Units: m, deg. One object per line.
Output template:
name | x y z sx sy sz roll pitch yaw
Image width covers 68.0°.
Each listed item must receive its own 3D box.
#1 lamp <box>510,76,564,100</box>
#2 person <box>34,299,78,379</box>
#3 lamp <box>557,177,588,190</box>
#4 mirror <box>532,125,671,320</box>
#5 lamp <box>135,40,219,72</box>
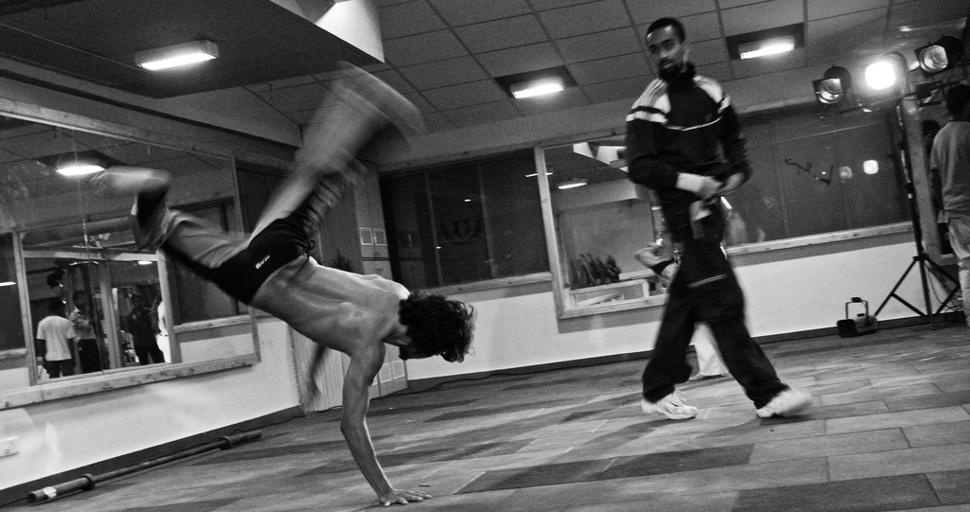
lamp | 0.836 -2.641 11.362 0.849 0.152 0.593 -9 -1 6
person | -4.644 0.885 7.767 0.223 0.821 0.362 -19 -2 22
lamp | 1.591 -1.299 12.996 0.431 0.069 0.368 1 -11 -33
mirror | 1.759 -0.519 11.591 2.287 1.859 3.531 -7 8 14
lamp | -3.479 -2.275 8.207 0.942 0.150 0.349 -6 2 19
